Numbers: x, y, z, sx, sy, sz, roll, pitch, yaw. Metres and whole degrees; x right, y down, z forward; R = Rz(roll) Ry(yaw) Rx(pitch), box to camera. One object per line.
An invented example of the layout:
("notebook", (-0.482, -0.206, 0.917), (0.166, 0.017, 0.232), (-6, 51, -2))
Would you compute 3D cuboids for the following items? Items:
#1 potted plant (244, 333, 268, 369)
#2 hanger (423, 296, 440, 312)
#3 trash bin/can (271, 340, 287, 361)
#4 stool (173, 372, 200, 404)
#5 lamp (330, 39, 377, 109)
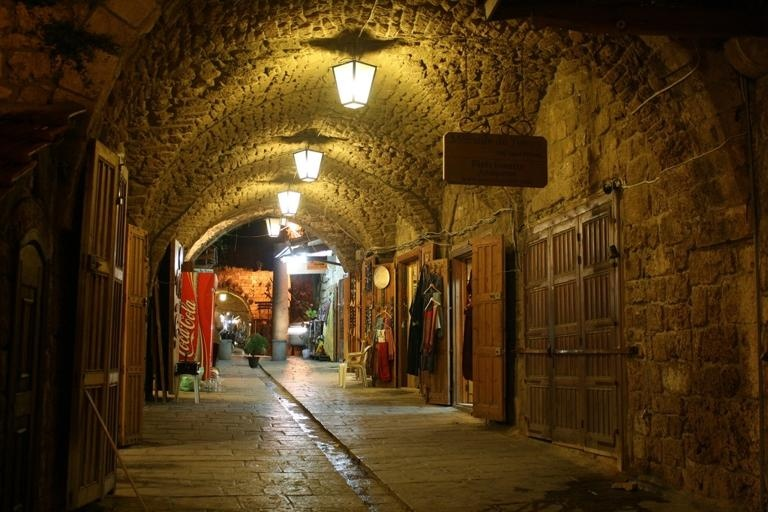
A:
("potted plant", (-4.544, 3.399, 20.810), (0.709, 1.189, 1.714), (2, -5, -13))
("hanger", (0.994, 1.007, 12.142), (0.032, 0.316, 0.287), (13, -15, -24))
("trash bin/can", (-4.370, 3.955, 24.542), (0.573, 0.818, 0.491), (2, -4, -12))
("stool", (-4.031, 2.728, 12.008), (0.624, 0.628, 0.641), (-3, -8, 15))
("lamp", (-0.410, -2.313, 7.878), (0.551, 0.567, 0.245), (1, -4, -5))
